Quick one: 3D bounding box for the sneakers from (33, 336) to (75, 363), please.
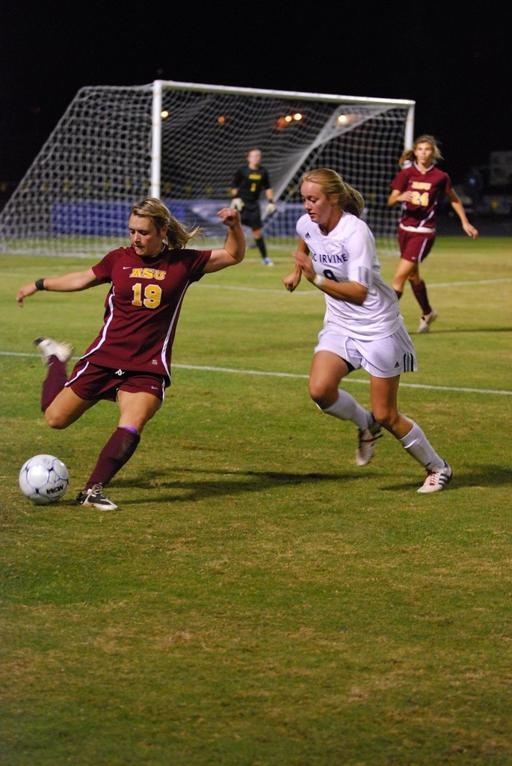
[{"bbox_3d":[-1.146,-0.187,4.562,0.224,0.141,0.129,4,46,43],"label":"sneakers"}]

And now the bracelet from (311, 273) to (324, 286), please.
[{"bbox_3d":[0.298,-0.488,3.762,0.065,0.050,0.063,3,7,30],"label":"bracelet"}]

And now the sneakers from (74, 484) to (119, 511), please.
[{"bbox_3d":[-0.740,0.547,3.756,0.254,0.102,0.083,7,3,26],"label":"sneakers"}]

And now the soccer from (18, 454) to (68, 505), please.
[{"bbox_3d":[-1.006,0.467,3.760,0.214,0.234,0.146,-3,9,-17],"label":"soccer"}]

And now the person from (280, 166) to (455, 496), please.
[{"bbox_3d":[0.564,-0.239,4.018,0.767,1.629,0.502,-1,9,-6],"label":"person"}]

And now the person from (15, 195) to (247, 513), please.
[{"bbox_3d":[-0.690,-0.164,3.935,1.168,1.458,0.711,4,9,26],"label":"person"}]
